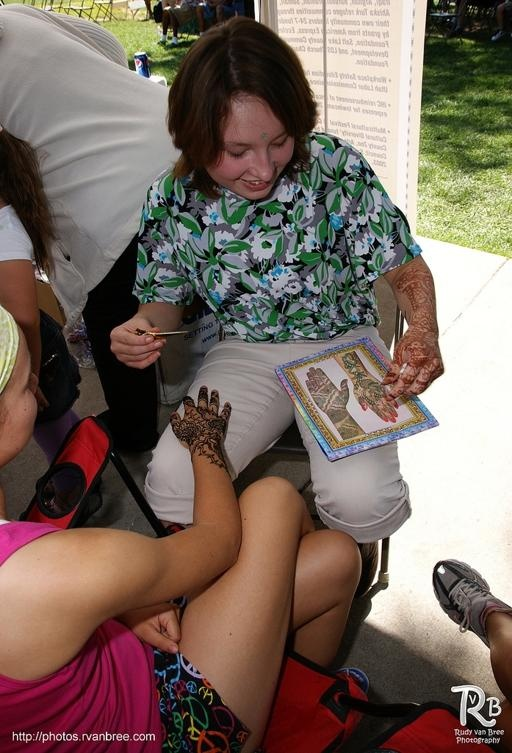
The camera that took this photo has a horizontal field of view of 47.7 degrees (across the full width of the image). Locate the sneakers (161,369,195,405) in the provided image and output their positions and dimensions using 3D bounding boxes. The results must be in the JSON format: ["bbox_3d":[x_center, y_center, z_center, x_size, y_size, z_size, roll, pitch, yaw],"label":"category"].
[{"bbox_3d":[-0.315,0.034,2.326,0.109,0.139,0.082,10,37,-14],"label":"sneakers"}]
